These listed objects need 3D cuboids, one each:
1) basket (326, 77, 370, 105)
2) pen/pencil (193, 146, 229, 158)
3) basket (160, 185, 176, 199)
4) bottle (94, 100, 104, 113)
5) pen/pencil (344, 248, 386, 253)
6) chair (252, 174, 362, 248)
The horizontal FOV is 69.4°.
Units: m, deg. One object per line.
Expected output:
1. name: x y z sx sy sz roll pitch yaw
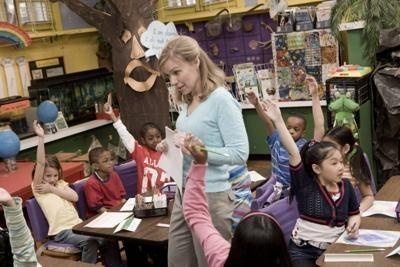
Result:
1. basket: 1.849 -0.544 3.619 0.420 0.277 0.401 -20 19 -40
2. pen/pencil: 0.048 0.079 1.236 0.146 0.023 0.026 18 42 -16
3. basket: -0.286 0.512 2.534 0.166 0.084 0.228 0 -21 -8
4. bottle: -2.140 -0.579 6.088 0.213 0.273 0.229 -8 8 1
5. pen/pencil: 0.856 0.602 1.488 0.186 0.020 0.019 0 0 -1
6. chair: 0.687 0.474 1.762 0.534 0.256 0.689 -9 7 -20
